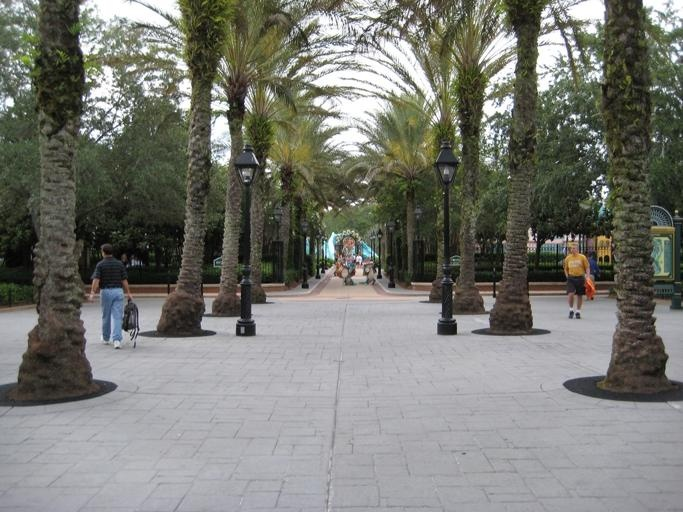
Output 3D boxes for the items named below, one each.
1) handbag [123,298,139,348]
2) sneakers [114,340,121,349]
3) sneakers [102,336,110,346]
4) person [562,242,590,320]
[{"bbox_3d":[-4.422,1.384,12.243,0.308,0.962,0.297,0,13,-9],"label":"handbag"},{"bbox_3d":[-4.599,1.786,11.996,0.092,0.138,0.293,2,3,-7],"label":"sneakers"},{"bbox_3d":[-5.039,1.796,12.524,0.108,0.161,0.218,3,-8,-23],"label":"sneakers"},{"bbox_3d":[6.856,0.715,17.141,0.578,2.183,1.142,0,0,29],"label":"person"}]
